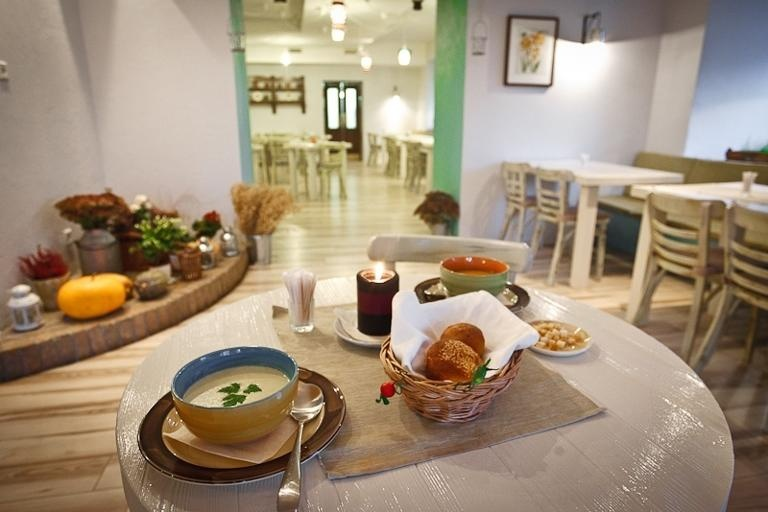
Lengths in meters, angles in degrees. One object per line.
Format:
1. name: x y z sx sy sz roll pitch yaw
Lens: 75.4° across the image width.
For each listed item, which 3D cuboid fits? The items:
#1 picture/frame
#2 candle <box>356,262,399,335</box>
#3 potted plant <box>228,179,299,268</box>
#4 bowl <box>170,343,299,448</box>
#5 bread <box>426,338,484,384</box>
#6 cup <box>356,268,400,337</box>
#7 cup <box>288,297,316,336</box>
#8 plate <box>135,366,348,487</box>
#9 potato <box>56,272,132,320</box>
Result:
1. picture/frame: 1.350 -1.943 4.602 0.605 0.713 0.069 -2 20 -11
2. candle: -0.038 0.144 1.636 0.162 0.189 0.165 20 16 40
3. potted plant: -0.936 -0.340 4.478 0.687 0.786 0.600 0 21 -5
4. bowl: -0.384 0.384 1.318 0.306 0.171 0.305 -2 16 1
5. bread: 0.186 0.269 1.285 0.098 0.068 0.121 -4 22 -11
6. cup: -0.025 0.146 1.629 0.146 0.171 0.149 1 13 0
7. cup: -0.274 0.192 1.664 0.090 0.108 0.098 -1 1 0
8. plate: -0.381 0.374 1.265 0.286 0.054 0.289 14 19 37
9. potato: -1.726 0.212 2.979 0.298 0.228 0.311 1 19 -12
